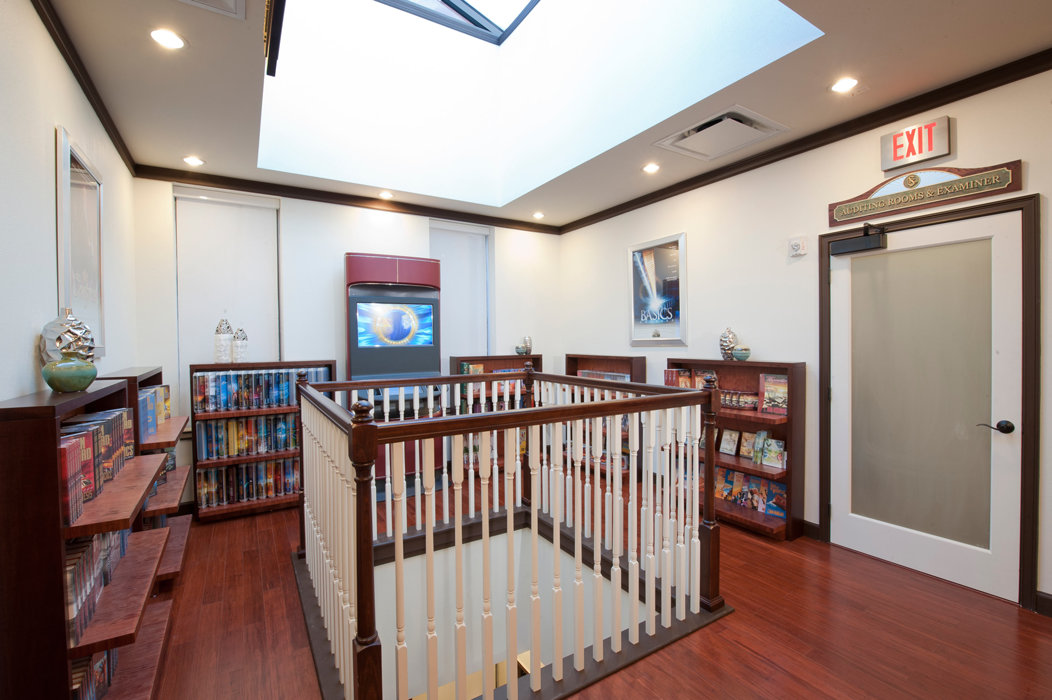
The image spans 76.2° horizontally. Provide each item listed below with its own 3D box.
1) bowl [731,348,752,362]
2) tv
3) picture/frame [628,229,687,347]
[{"bbox_3d":[2.016,0.046,6.288,0.128,0.094,0.128,-1,2,0],"label":"bowl"},{"bbox_3d":[-1.493,-0.161,7.266,0.920,0.870,0.318,0,1,-31],"label":"tv"},{"bbox_3d":[1.404,-0.645,7.226,0.111,1.126,0.797,-1,3,-30],"label":"picture/frame"}]
